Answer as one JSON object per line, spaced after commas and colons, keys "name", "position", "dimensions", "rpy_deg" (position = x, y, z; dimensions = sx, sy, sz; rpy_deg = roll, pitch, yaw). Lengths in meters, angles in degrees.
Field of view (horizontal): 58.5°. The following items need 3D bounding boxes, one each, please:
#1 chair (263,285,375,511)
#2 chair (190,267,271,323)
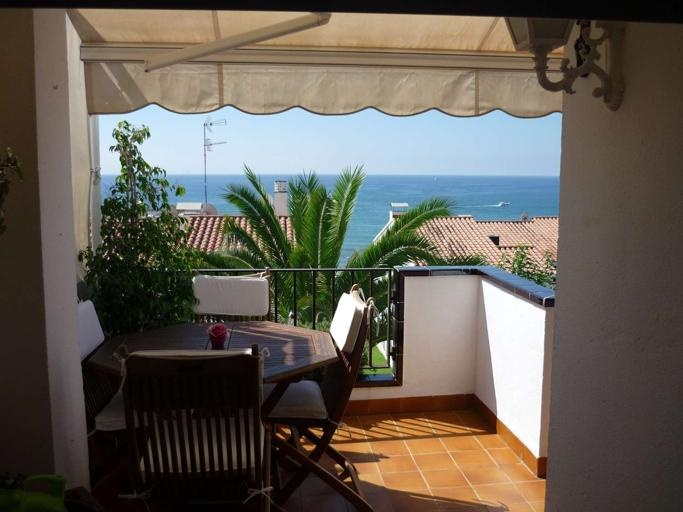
{"name": "chair", "position": [-0.132, 0.788, 3.608], "dimensions": [0.617, 1.194, 0.788], "rpy_deg": [1, 8, 1]}
{"name": "chair", "position": [-0.792, 0.277, 4.404], "dimensions": [0.540, 0.292, 0.176], "rpy_deg": [0, 8, -9]}
